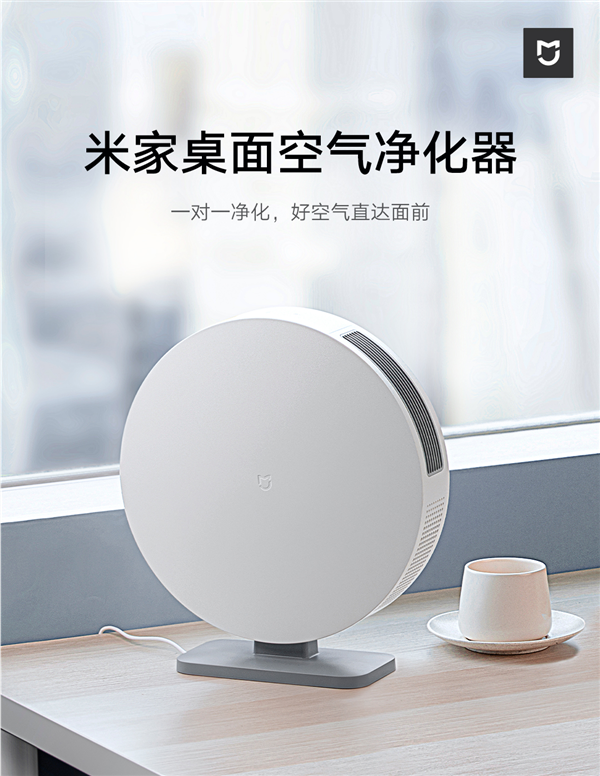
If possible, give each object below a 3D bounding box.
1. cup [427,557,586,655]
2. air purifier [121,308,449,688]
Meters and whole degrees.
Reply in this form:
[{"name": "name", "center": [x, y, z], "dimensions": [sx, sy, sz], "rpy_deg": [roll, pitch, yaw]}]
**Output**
[{"name": "cup", "center": [0.191, 0.196, 0.838], "dimensions": [0.105, 0.052, 0.104], "rpy_deg": [-4, -6, 0]}, {"name": "air purifier", "center": [-0.021, 0.111, 0.752], "dimensions": [0.329, 0.374, 0.117], "rpy_deg": [3, 6, 26]}]
